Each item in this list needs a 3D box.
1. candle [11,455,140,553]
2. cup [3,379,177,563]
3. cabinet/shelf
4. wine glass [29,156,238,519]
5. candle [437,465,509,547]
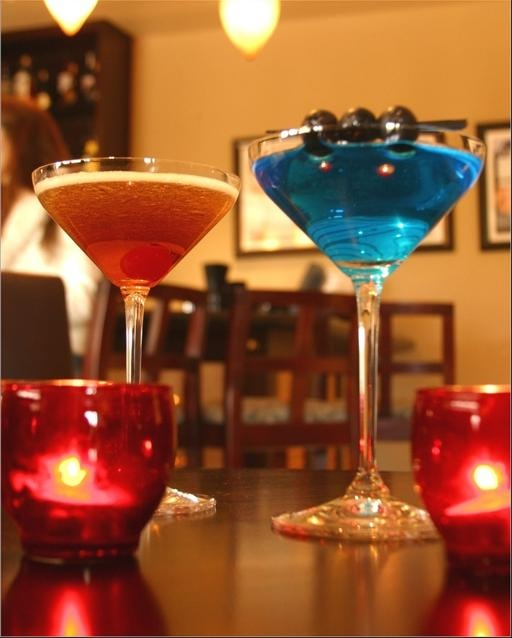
[{"bbox_3d":[-0.075,0.073,0.271,0.044,0.028,0.044,0,-13,-3],"label":"candle"},{"bbox_3d":[-0.057,0.063,0.279,0.074,0.056,0.073,0,-14,0],"label":"cup"},{"bbox_3d":[-1.101,-1.283,3.794,0.813,0.780,0.358,-2,-7,4],"label":"cabinet/shelf"},{"bbox_3d":[-0.092,0.005,0.501,0.167,0.203,0.160,-6,-19,29],"label":"wine glass"},{"bbox_3d":[0.080,0.076,0.273,0.033,0.030,0.033,1,-15,0],"label":"candle"}]
